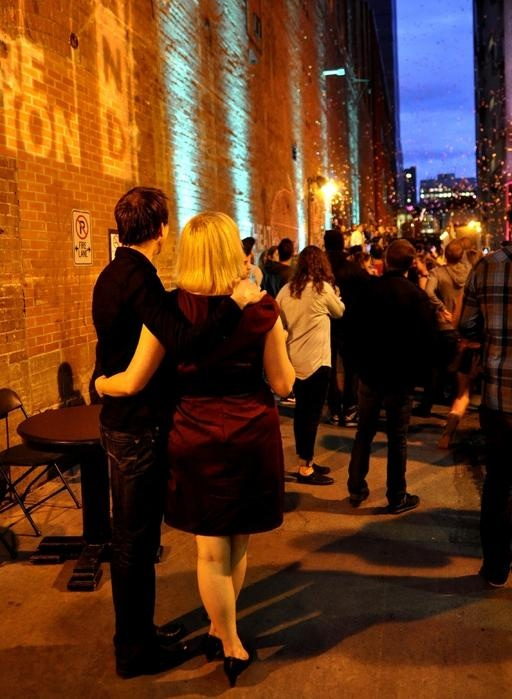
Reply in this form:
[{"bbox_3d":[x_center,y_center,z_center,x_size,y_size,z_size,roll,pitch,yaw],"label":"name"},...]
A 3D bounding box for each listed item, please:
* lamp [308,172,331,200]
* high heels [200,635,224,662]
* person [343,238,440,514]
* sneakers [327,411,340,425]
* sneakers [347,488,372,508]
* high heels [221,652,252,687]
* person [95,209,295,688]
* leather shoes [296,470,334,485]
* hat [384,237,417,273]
[{"bbox_3d":[2.207,-5.827,20.616,1.056,1.075,0.789,2,6,21],"label":"lamp"},{"bbox_3d":[-0.176,1.199,2.331,0.060,0.051,0.141,-4,-11,1],"label":"high heels"},{"bbox_3d":[0.914,0.183,3.984,0.609,1.870,0.377,0,4,18],"label":"person"},{"bbox_3d":[0.902,0.798,6.633,0.114,0.114,0.111,-2,-6,2],"label":"sneakers"},{"bbox_3d":[0.733,1.058,4.172,0.066,0.085,0.202,3,17,25],"label":"sneakers"},{"bbox_3d":[-0.074,1.186,2.178,0.067,0.124,0.049,3,9,5],"label":"high heels"},{"bbox_3d":[-0.163,0.401,2.022,0.594,1.709,0.396,-1,3,3],"label":"person"},{"bbox_3d":[0.475,1.024,4.680,0.284,0.105,0.109,-1,2,9],"label":"leather shoes"},{"bbox_3d":[0.959,-0.629,3.934,0.192,0.228,0.234,7,36,5],"label":"hat"}]
